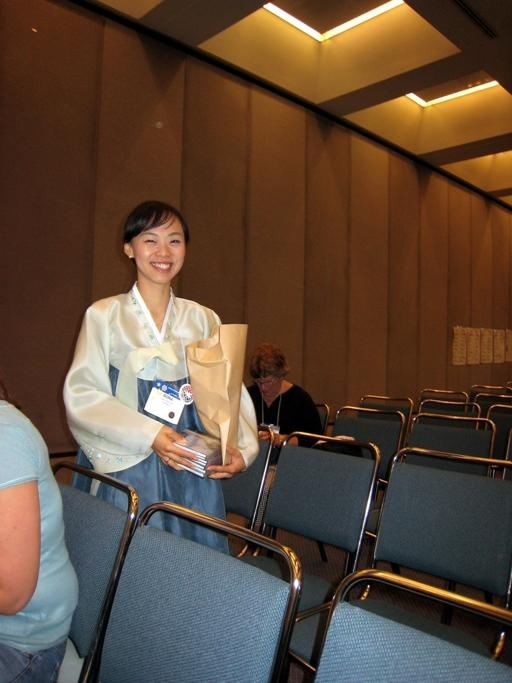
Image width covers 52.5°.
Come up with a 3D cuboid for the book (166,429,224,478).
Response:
[{"bbox_3d":[-0.141,0.271,1.303,0.093,0.040,0.122,18,11,12],"label":"book"}]
